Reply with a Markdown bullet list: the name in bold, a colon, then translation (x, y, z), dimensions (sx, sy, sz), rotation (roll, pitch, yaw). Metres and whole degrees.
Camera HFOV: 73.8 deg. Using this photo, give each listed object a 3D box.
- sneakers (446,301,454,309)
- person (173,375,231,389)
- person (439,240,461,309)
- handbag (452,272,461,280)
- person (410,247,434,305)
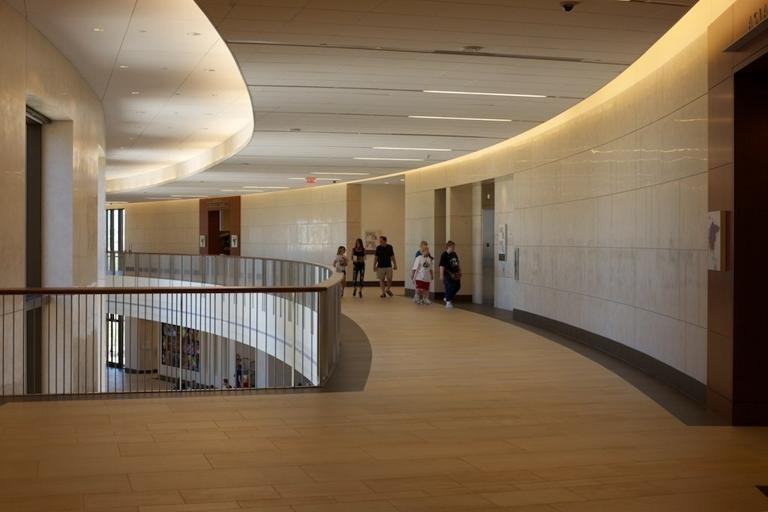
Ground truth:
- **sneakers**: translation (1.933, 1.448, 14.863), dimensions (0.204, 0.197, 0.129), rotation (-1, 0, 22)
- **person**: translation (-2.656, 1.867, 7.564), dimensions (1.078, 0.144, 0.228), rotation (-2, 2, 1)
- **person**: translation (1.964, 0.558, 15.261), dimensions (0.536, 1.378, 1.407), rotation (-1, 1, 6)
- **handbag**: translation (2.106, 0.599, 14.773), dimensions (0.174, 0.170, 0.207), rotation (2, -7, -39)
- **person**: translation (1.182, 0.542, 15.718), dimensions (0.573, 1.381, 1.101), rotation (-1, 1, 3)
